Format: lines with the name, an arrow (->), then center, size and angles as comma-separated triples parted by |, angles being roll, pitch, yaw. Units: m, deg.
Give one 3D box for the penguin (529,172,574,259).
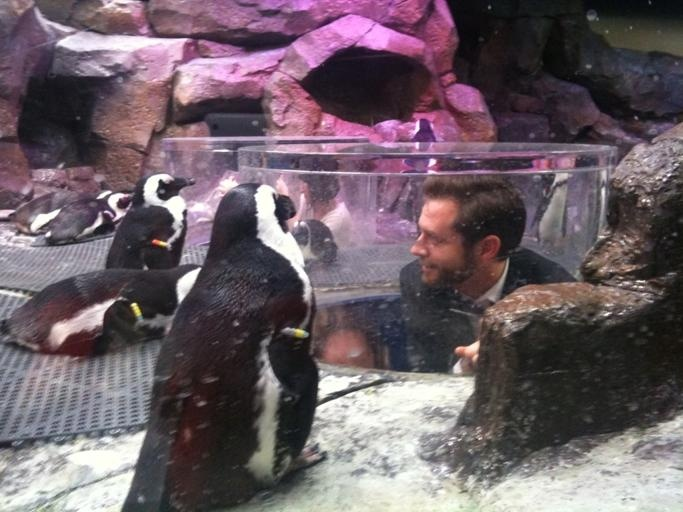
penguin -> 0.572, -0.117, 1.628 | 0.100, 0.189, 0.106 | -13, 23, -37
